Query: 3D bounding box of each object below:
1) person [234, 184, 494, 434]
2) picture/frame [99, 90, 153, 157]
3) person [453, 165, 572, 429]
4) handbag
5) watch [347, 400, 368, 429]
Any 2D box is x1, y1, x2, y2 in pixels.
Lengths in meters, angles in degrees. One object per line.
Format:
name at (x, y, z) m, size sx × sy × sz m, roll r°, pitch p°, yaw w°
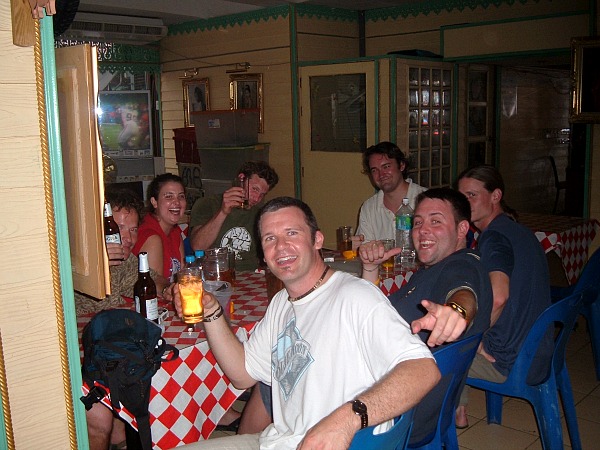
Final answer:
person at (0.393, 0.450, 2.278) m, size 1.035 × 1.228 × 0.940 m, roll 1°, pitch -3°, yaw 18°
picture/frame at (-2.796, -1.602, 7.541) m, size 0.108 × 1.069 × 1.091 m, roll 14°, pitch 16°, yaw 26°
person at (1.118, 0.301, 2.853) m, size 0.575 × 1.218 × 0.660 m, roll -16°, pitch 17°, yaw -37°
handbag at (-0.821, 0.551, 2.024) m, size 0.312 × 0.403 × 0.415 m, roll 6°, pitch 3°, yaw -34°
watch at (0.179, 0.551, 1.386) m, size 0.049 × 0.075 × 0.075 m, roll -7°, pitch 30°, yaw -19°
